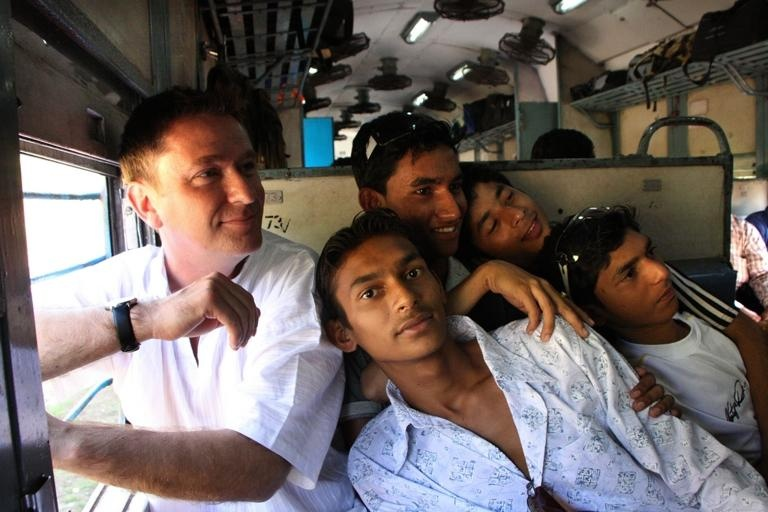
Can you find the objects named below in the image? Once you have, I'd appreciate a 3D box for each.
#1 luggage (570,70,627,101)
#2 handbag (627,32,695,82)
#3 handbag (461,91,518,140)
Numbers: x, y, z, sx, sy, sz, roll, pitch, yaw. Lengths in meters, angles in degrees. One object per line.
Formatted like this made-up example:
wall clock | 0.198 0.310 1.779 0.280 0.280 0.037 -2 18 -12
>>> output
luggage | 2.791 -2.253 7.567 0.428 0.095 0.420 -7 -3 34
handbag | 3.071 -2.210 6.510 0.777 0.447 0.187 -19 -42 41
handbag | 1.771 -2.435 9.893 0.655 0.295 0.843 -19 11 20
